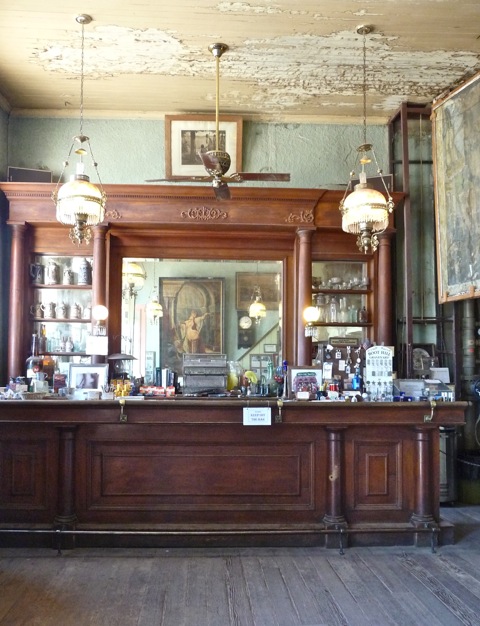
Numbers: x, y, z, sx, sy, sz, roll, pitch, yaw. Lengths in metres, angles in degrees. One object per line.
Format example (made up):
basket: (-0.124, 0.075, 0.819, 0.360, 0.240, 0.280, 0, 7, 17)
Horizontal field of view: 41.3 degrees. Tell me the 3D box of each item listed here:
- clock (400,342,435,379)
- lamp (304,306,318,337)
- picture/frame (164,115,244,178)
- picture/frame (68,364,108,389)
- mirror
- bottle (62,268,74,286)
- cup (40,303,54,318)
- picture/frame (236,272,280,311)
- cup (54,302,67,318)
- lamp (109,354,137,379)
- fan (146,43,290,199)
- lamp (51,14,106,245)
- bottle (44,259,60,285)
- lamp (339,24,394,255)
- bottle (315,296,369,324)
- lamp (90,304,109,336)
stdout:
clock: (1.709, 0.470, 6.149, 0.252, 0.480, 0.152, 4, -35, 1)
lamp: (0.695, 0.076, 6.157, 0.124, 0.298, 0.366, 1, -1, 15)
picture/frame: (-0.375, -1.578, 5.989, 0.867, 0.798, 0.066, 0, 4, -1)
picture/frame: (-1.160, 0.480, 4.833, 0.176, 0.171, 0.014, 0, -26, -9)
mirror: (-0.271, 0.200, 6.343, 1.442, 1.474, 0.137, 2, -20, -13)
bottle: (-1.683, -0.359, 6.226, 0.133, 0.226, 0.138, 1, 1, 0)
cup: (-1.872, -0.028, 6.193, 0.148, 0.170, 0.093, 2, 0, -20)
picture/frame: (0.184, -0.215, 6.434, 0.345, 0.328, 0.051, 0, 2, 6)
cup: (-1.742, -0.037, 6.220, 0.120, 0.232, 0.119, -1, -6, 0)
lamp: (-1.122, 0.505, 6.082, 0.261, 0.282, 0.277, 1, -5, -4)
fan: (-0.172, -1.504, 4.870, 0.960, 1.024, 1.024, 6, 11, 26)
lamp: (-1.324, -1.341, 5.363, 0.457, 1.715, 2.155, 1, -1, -15)
bottle: (-1.833, -0.394, 6.209, 0.150, 0.254, 0.088, 1, -1, -19)
lamp: (1.085, -1.314, 5.534, 0.477, 1.745, 2.095, 1, -1, 13)
bottle: (1.009, -0.031, 6.340, 0.532, 0.286, 0.115, 1, -1, -9)
lamp: (-1.302, 0.061, 5.906, 0.142, 0.285, 0.257, 1, -1, -12)
